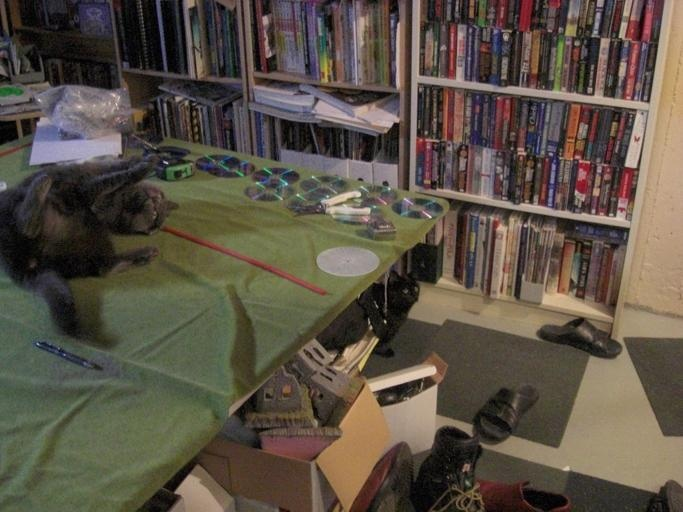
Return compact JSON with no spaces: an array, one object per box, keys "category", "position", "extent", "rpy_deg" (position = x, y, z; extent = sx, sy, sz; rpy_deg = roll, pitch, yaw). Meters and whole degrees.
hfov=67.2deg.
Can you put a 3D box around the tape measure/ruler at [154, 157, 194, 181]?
[{"category":"tape measure/ruler","position":[-0.626,-0.338,1.900],"extent":[0.095,0.045,0.097],"rpy_deg":[20,33,31]}]

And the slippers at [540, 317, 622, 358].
[{"category":"slippers","position":[1.118,0.385,2.449],"extent":[0.387,0.142,0.147],"rpy_deg":[9,40,25]}]

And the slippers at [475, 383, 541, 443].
[{"category":"slippers","position":[0.654,0.599,2.041],"extent":[0.171,0.095,0.342],"rpy_deg":[33,56,27]}]

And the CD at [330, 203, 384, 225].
[{"category":"CD","position":[0.036,-0.136,1.683],"extent":[0.111,0.027,0.084],"rpy_deg":[9,25,21]}]
